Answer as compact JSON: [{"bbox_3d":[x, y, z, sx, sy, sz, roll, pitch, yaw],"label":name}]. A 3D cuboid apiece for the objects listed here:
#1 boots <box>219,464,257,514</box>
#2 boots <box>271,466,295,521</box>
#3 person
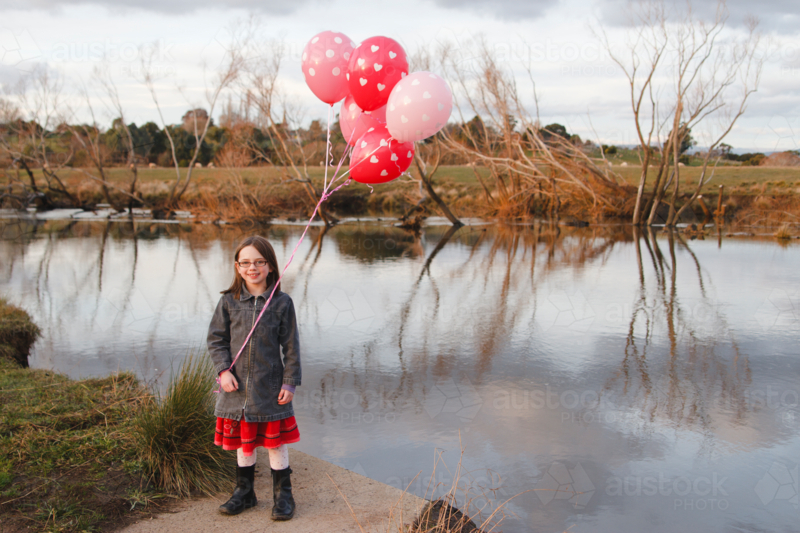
[{"bbox_3d":[-1.747,2.386,7.861,0.218,0.475,0.473,4,8,41],"label":"boots"},{"bbox_3d":[-1.269,2.417,7.827,0.235,0.510,0.499,-3,6,-3],"label":"boots"},{"bbox_3d":[-1.564,1.161,7.850,0.969,2.905,0.820,-1,9,-3],"label":"person"}]
